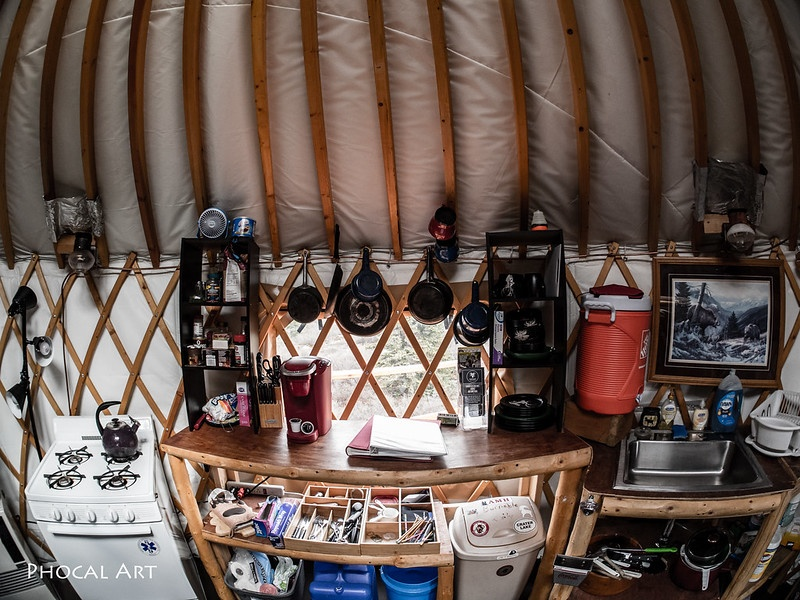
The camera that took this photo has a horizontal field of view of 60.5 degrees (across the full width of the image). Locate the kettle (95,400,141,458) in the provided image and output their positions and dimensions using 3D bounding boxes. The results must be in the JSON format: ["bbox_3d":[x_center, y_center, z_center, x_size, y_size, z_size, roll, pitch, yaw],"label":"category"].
[{"bbox_3d":[-2.274,1.018,5.522,0.333,0.445,0.271,-5,20,-17],"label":"kettle"}]

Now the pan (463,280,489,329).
[{"bbox_3d":[0.583,0.031,5.269,0.205,0.355,0.125,-1,2,2],"label":"pan"}]

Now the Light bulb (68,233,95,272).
[{"bbox_3d":[-2.526,-0.376,5.433,0.197,0.308,0.205,0,-4,39],"label":"Light bulb"}]

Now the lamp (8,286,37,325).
[{"bbox_3d":[-3.102,0.040,5.593,0.168,0.176,0.275,-7,31,16],"label":"lamp"}]

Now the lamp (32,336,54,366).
[{"bbox_3d":[-2.843,0.373,5.516,0.208,0.267,0.261,3,1,-29],"label":"lamp"}]

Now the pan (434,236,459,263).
[{"bbox_3d":[0.366,-0.396,5.416,0.182,0.171,0.187,-1,-9,-1],"label":"pan"}]
